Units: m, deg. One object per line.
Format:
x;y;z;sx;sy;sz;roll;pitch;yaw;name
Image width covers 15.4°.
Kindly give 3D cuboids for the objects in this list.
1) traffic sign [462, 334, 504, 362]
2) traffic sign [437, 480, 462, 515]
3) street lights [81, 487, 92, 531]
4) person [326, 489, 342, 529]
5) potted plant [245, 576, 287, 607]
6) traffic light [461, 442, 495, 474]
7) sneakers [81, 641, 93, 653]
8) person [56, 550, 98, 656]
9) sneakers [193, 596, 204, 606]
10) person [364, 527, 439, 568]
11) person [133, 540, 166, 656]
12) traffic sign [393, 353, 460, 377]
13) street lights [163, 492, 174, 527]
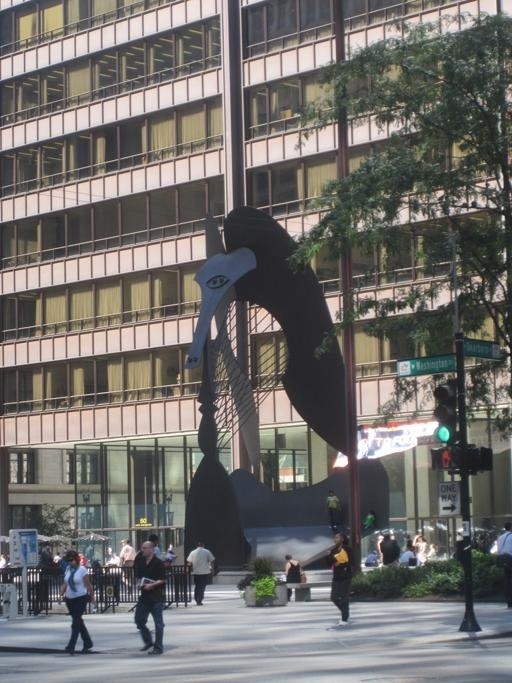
4.148;0.110;34.783;0.286;0.366;1.231;-12;-10;33;traffic sign
3.525;2.819;34.058;0.509;0.617;0.347;-11;-9;27;traffic sign
-6.031;6.168;69.287;0.244;1.321;0.667;-1;-9;-30;street lights
2.247;4.684;52.489;0.389;1.185;1.288;-6;-9;2;person
0.262;5.502;41.368;0.696;0.475;0.688;-6;-9;41;potted plant
4.011;2.124;34.071;0.401;0.671;0.626;-3;1;-6;traffic light
-2.896;5.437;33.524;0.242;0.200;0.101;0;-13;5;sneakers
-3.135;4.678;33.982;0.549;1.852;1.076;-5;-8;-6;person
-1.247;5.958;43.306;0.230;0.256;0.149;-6;-9;28;sneakers
4.174;5.764;53.279;1.729;0.738;1.358;-1;-11;-15;person
-1.758;4.460;32.924;0.479;1.980;0.688;0;-10;-35;person
3.159;0.434;34.587;1.110;0.390;0.518;-9;-9;12;traffic sign
-2.944;5.852;66.516;0.387;1.226;0.991;-5;-8;-3;street lights
